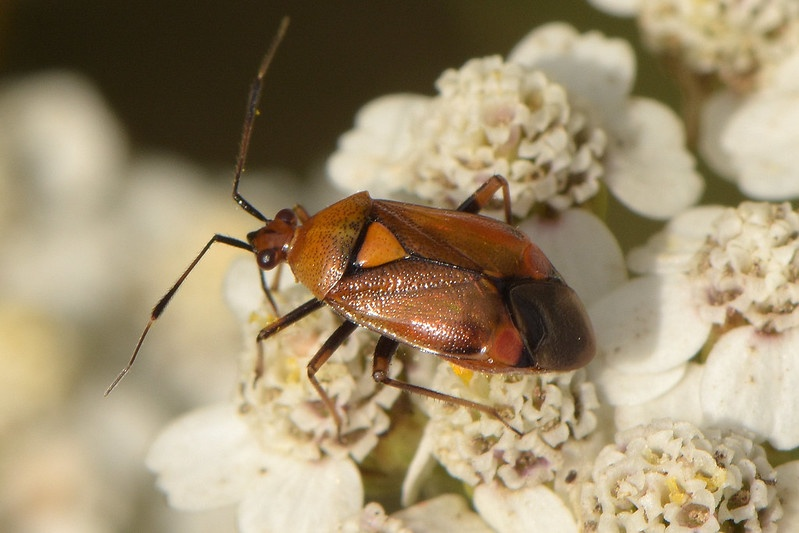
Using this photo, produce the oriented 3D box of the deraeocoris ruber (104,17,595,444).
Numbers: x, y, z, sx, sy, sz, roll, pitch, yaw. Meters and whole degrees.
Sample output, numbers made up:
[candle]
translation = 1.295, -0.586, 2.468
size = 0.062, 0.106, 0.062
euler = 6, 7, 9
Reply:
[deraeocoris ruber]
translation = -0.049, 0.000, 3.900
size = 1.726, 0.611, 1.631
euler = 15, 75, 19
